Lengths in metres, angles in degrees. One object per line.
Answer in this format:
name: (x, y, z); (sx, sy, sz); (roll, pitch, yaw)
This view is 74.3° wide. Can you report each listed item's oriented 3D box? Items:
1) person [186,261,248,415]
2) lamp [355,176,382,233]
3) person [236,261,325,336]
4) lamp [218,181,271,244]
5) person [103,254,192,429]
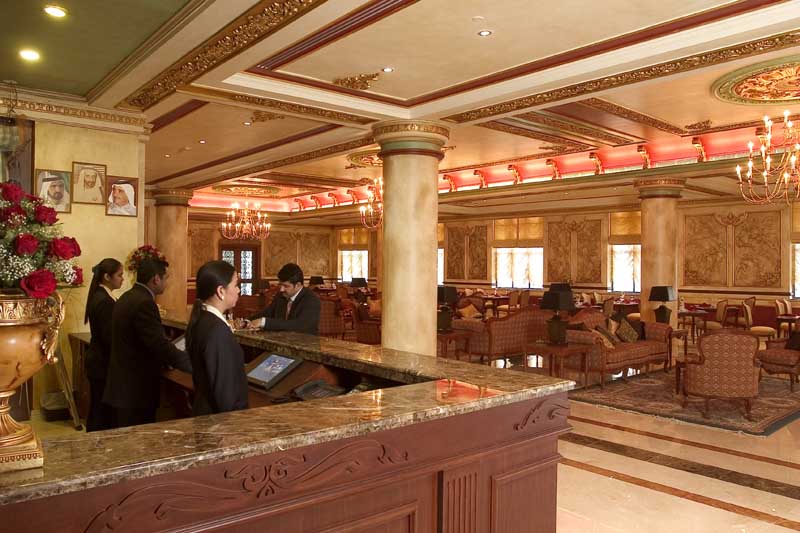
person: (-1.153, 0.459, 3.334); (0.341, 0.980, 0.604); (-2, 4, -20)
lamp: (-0.767, -1.767, 15.460); (1.264, 1.363, 0.929); (1, 9, -5)
person: (-1.101, 0.324, 5.379); (0.799, 0.698, 0.675); (1, 3, 34)
lamp: (-5.031, -1.618, 17.339); (1.899, 1.535, 1.572); (0, 0, -2)
person: (-2.298, 0.722, 4.696); (0.639, 1.627, 1.034); (-3, 4, -27)
